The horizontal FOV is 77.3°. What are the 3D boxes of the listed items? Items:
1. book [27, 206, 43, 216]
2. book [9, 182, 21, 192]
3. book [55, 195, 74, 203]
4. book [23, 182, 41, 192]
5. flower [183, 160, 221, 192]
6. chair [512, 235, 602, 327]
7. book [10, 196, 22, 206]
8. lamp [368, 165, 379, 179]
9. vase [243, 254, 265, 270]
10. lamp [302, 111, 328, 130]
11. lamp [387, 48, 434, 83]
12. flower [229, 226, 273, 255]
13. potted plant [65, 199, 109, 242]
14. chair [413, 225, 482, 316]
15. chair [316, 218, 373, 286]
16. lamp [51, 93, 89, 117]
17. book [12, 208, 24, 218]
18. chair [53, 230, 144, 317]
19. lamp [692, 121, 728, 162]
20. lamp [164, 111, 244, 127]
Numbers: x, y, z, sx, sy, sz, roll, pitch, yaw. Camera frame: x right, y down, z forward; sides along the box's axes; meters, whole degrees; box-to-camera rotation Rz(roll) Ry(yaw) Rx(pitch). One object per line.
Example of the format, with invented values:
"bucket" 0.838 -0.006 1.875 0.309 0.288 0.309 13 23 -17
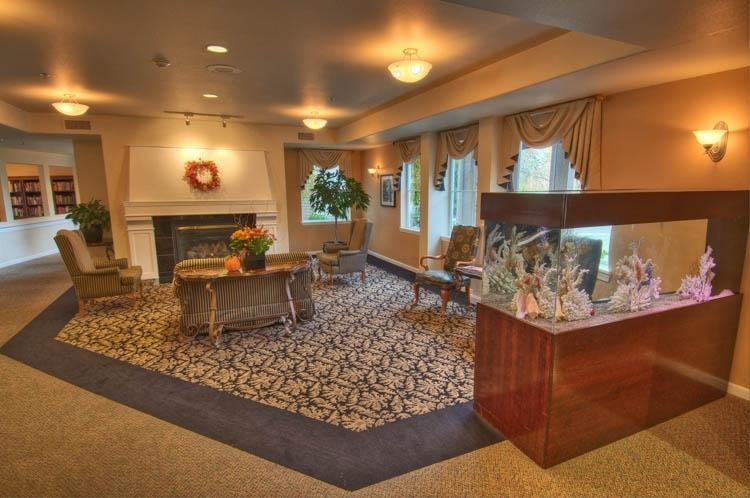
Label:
"book" -8.977 -0.997 12.425 0.300 0.270 0.167 0 0 33
"book" -9.480 -1.649 12.395 0.313 0.272 0.104 0 11 17
"book" -8.707 -1.405 13.223 0.423 0.216 0.387 6 -2 -37
"book" -9.111 -1.625 12.490 0.340 0.276 0.096 -5 11 -13
"flower" -3.557 -1.506 9.695 0.693 0.652 0.228 -6 11 -17
"chair" 1.723 0.288 4.888 1.018 0.956 0.740 -1 6 -17
"book" -9.442 -1.256 12.399 0.261 0.218 0.144 -1 10 8
"lamp" -0.048 -1.931 11.683 0.316 0.370 0.252 -4 7 -43
"vase" -1.733 0.187 6.779 0.390 0.254 0.202 -2 4 -28
"lamp" -1.170 -2.448 8.969 0.471 0.321 0.451 -1 9 -1
"lamp" 0.480 -2.395 6.132 0.481 0.364 0.483 4 12 35
"flower" -1.892 -0.132 6.900 0.593 0.315 0.595 9 8 41
"potted plant" -5.793 -0.578 9.762 0.956 0.890 0.902 -2 8 -15
"chair" 1.162 0.298 7.891 0.976 1.303 1.027 5 11 31
"chair" -0.364 -0.021 9.214 1.297 1.526 1.198 -2 8 -17
"lamp" -4.753 -2.210 7.371 0.554 0.329 0.553 4 14 36
"book" -9.281 -0.964 12.260 0.201 0.227 0.413 -9 11 -34
"chair" -4.567 0.298 8.207 1.583 1.615 1.223 -4 12 -31
"lamp" 3.885 -1.250 5.495 0.310 0.416 0.273 7 3 3
"lamp" -3.383 -2.569 9.351 1.387 0.217 0.883 -5 9 -18
